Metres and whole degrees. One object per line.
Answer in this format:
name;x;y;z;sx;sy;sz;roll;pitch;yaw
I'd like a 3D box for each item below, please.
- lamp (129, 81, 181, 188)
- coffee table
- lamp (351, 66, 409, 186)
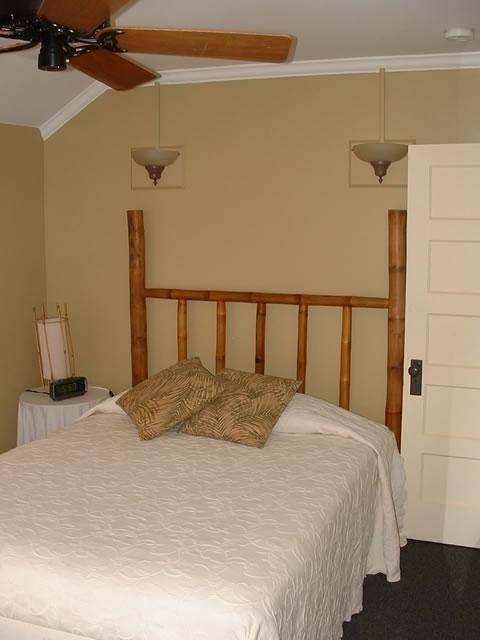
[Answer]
lamp;-0.496;-1.095;3.093;0.292;0.621;0.418;-1;6;-12
coffee table;-1.129;0.564;3.195;0.325;0.350;0.333;-13;20;-33
lamp;0.706;-0.991;2.661;0.301;0.567;0.276;2;6;12
